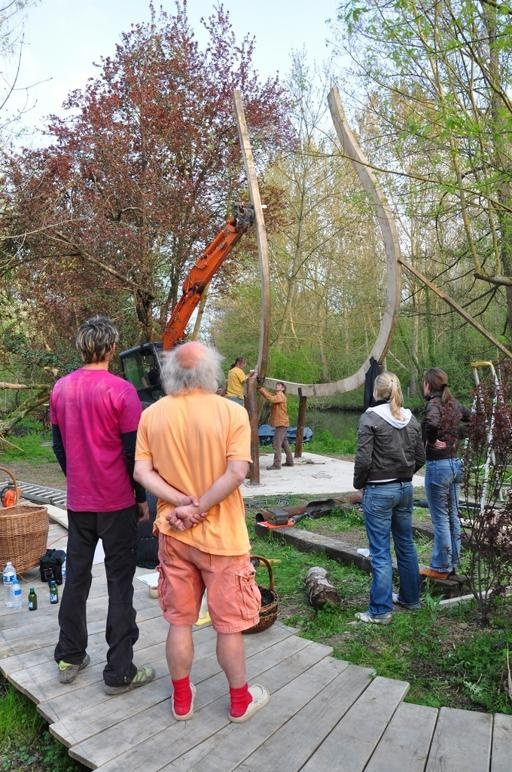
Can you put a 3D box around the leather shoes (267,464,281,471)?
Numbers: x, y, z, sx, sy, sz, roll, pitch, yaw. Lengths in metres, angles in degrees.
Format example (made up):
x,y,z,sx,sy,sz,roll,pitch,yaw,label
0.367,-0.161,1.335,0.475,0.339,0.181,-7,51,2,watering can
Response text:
x,y,z,sx,sy,sz,roll,pitch,yaw,label
0.342,1.592,10.744,0.256,0.184,0.107,6,-6,-10,leather shoes

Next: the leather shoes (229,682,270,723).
x,y,z,sx,sy,sz,roll,pitch,yaw,label
-0.035,1.297,2.330,0.094,0.101,0.237,-2,1,27,leather shoes

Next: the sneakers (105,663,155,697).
x,y,z,sx,sy,sz,roll,pitch,yaw,label
-0.572,1.368,2.545,0.075,0.101,0.226,8,11,35,sneakers

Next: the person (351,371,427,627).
x,y,z,sx,sy,sz,roll,pitch,yaw,label
0.844,0.731,3.747,0.662,1.561,0.664,-2,1,-7,person

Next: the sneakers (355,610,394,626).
x,y,z,sx,sy,sz,roll,pitch,yaw,label
0.758,1.465,3.554,0.231,0.102,0.086,3,-8,28,sneakers

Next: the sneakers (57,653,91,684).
x,y,z,sx,sy,sz,roll,pitch,yaw,label
-0.874,1.352,2.666,0.067,0.082,0.183,3,6,13,sneakers

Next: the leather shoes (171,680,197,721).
x,y,z,sx,sy,sz,roll,pitch,yaw,label
-0.292,1.289,2.254,0.079,0.088,0.225,-1,-20,-3,leather shoes

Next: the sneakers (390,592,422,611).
x,y,z,sx,sy,sz,roll,pitch,yaw,label
1.036,1.495,3.835,0.081,0.097,0.221,-1,12,-26,sneakers

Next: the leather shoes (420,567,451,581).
x,y,z,sx,sy,sz,roll,pitch,yaw,label
1.327,1.377,4.070,0.211,0.092,0.084,7,1,28,leather shoes

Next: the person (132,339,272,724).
x,y,z,sx,sy,sz,roll,pitch,yaw,label
-0.228,0.595,2.269,0.575,1.508,0.285,2,0,1,person
